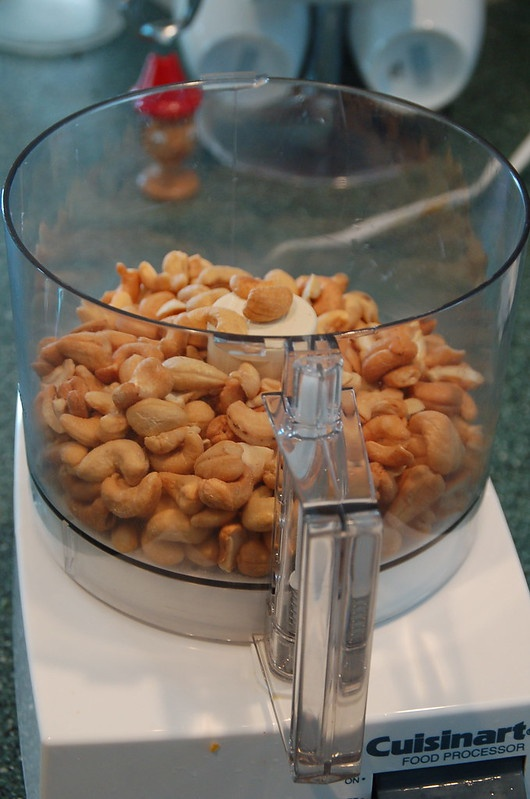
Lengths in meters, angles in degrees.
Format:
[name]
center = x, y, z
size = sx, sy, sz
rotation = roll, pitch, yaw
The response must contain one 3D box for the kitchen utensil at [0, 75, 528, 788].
[kitchen utensil]
center = -0.027, -0.018, 0.616
size = 0.347, 0.295, 0.425
rotation = -10, 40, -18
